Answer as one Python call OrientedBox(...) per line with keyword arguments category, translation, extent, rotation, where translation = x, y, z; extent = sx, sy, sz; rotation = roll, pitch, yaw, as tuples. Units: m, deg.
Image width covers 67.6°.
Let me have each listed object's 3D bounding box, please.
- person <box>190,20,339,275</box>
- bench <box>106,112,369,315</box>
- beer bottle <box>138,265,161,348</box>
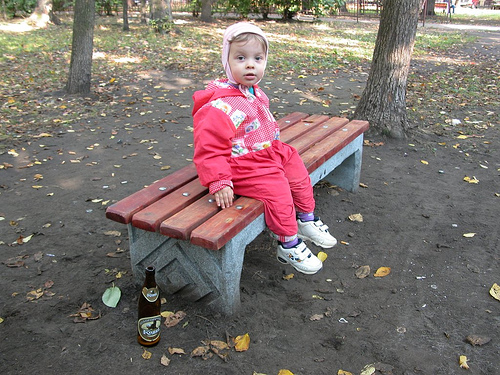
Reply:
OrientedBox(category="person", translation=(0.092, -0.239, 2.740), extent=(1.022, 1.747, 0.689), rotation=(-1, 28, -6))
OrientedBox(category="bench", translation=(0.206, 0.025, 3.577), extent=(1.058, 0.875, 2.943), rotation=(18, 29, 28))
OrientedBox(category="beer bottle", translation=(-0.668, 0.800, 2.478), extent=(0.173, 0.527, 0.166), rotation=(4, 14, -1))
